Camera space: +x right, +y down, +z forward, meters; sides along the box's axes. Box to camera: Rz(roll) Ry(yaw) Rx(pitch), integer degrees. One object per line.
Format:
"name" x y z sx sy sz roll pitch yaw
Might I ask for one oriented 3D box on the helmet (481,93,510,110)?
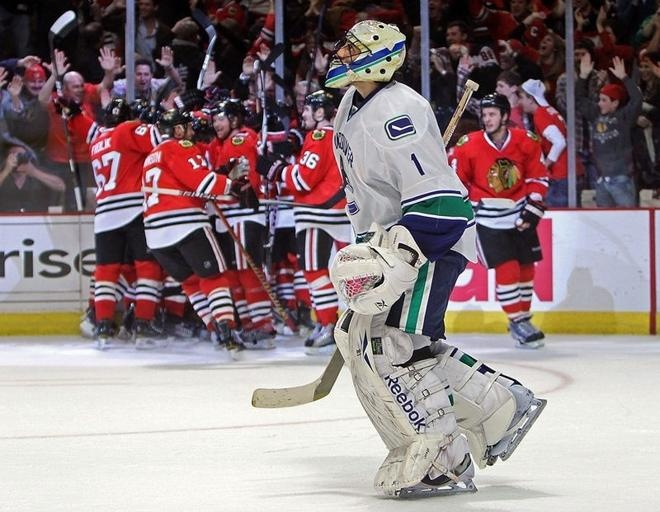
"helmet" 1.514 -1.382 9.953 0.207 0.177 0.156 21 7 1

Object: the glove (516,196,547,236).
"glove" 1.808 -0.362 9.922 0.250 0.308 0.128 29 -1 24

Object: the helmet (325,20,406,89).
"helmet" 0.231 -1.094 5.980 0.454 0.328 0.337 5 9 4

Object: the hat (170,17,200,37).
"hat" -1.530 -2.365 11.502 0.223 0.216 0.217 9 -6 -20

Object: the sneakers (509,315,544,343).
"sneakers" 1.725 0.653 9.808 0.151 0.159 0.364 -29 19 -17

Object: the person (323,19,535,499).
"person" 0.477 0.007 5.880 1.104 2.541 0.608 2 9 13
